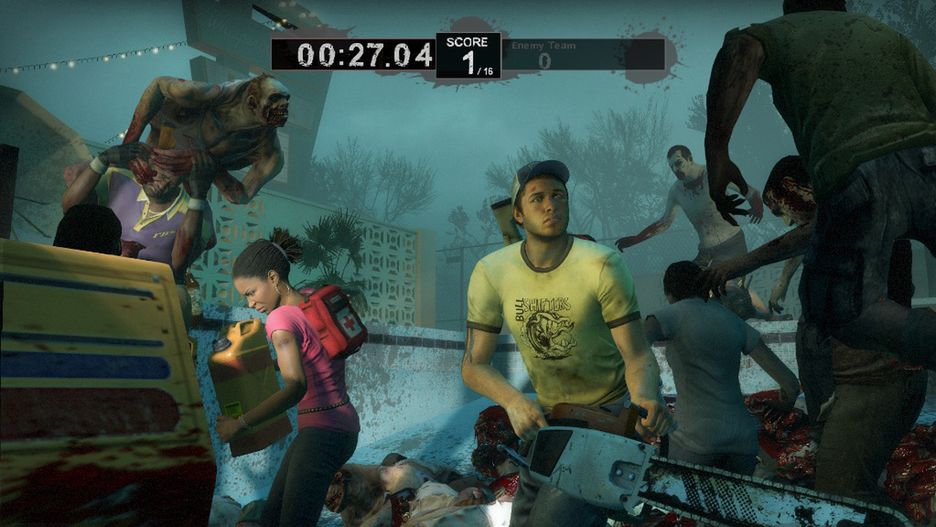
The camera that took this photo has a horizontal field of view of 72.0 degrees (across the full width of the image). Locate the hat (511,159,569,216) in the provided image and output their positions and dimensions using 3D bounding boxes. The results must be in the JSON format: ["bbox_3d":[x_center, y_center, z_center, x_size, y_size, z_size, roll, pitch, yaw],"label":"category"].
[{"bbox_3d":[0.531,-0.578,5.082,0.317,0.427,0.427,4,12,-5],"label":"hat"}]
